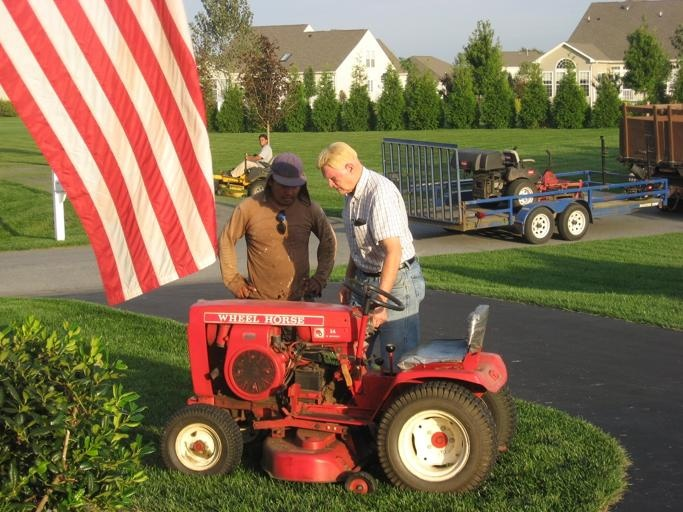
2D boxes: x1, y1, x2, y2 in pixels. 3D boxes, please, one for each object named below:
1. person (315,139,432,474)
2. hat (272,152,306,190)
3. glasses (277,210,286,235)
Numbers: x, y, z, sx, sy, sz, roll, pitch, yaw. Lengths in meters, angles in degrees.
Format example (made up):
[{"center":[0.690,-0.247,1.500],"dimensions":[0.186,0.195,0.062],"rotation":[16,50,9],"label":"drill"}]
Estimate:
[{"center":[0.263,0.078,6.664],"dimensions":[0.893,2.103,1.116],"rotation":[0,10,6],"label":"person"},{"center":[-0.478,-0.759,6.897],"dimensions":[0.290,0.322,0.362],"rotation":[5,12,28],"label":"hat"},{"center":[-0.541,-0.305,6.924],"dimensions":[0.098,0.200,0.081],"rotation":[-3,-1,-36],"label":"glasses"}]
